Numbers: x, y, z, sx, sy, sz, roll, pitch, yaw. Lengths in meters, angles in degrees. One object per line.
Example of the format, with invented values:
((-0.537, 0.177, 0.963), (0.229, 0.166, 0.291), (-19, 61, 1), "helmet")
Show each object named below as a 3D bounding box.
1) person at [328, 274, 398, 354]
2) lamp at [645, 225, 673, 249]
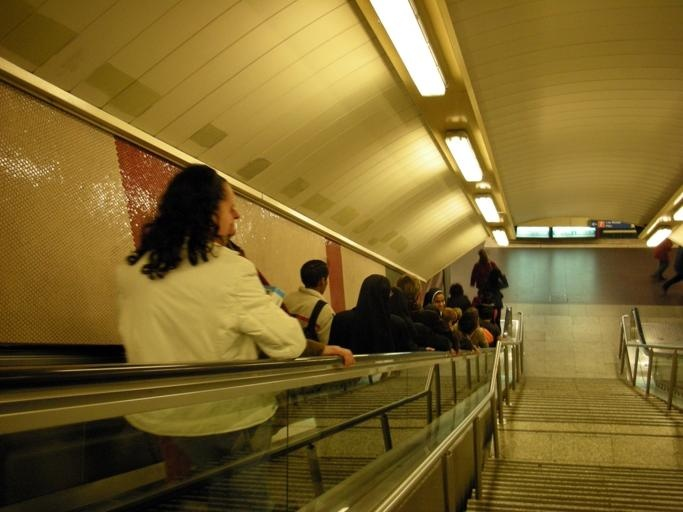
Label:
((0.215, 0.647, 5.282), (0.716, 1.083, 0.578), (12, 10, 21), "person")
((8.785, -0.578, 13.004), (0.527, 0.174, 0.825), (24, -16, 10), "lamp")
